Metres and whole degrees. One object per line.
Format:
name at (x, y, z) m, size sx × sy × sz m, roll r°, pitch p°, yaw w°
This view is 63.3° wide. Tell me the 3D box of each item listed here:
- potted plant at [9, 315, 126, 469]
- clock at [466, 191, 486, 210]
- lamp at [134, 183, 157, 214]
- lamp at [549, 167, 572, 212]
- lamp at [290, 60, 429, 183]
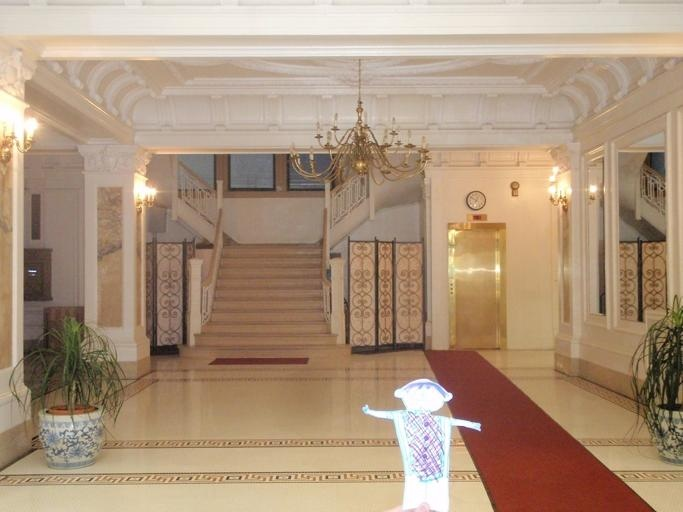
potted plant at (-2.572, 1.324, 5.260) m, size 0.940 × 1.301 × 0.876 m, roll 4°, pitch -14°, yaw -31°
clock at (2.625, -1.063, 10.726) m, size 0.306 × 0.318 × 0.051 m, roll -8°, pitch -1°, yaw -1°
lamp at (-3.111, -0.892, 8.795) m, size 0.258 × 0.458 × 0.593 m, roll 0°, pitch -2°, yaw -15°
lamp at (3.427, -1.044, 8.682) m, size 0.264 × 0.722 × 0.565 m, roll -1°, pitch -2°, yaw 14°
lamp at (0.232, -1.535, 8.183) m, size 1.865 × 1.774 × 1.866 m, roll -4°, pitch 3°, yaw -42°
